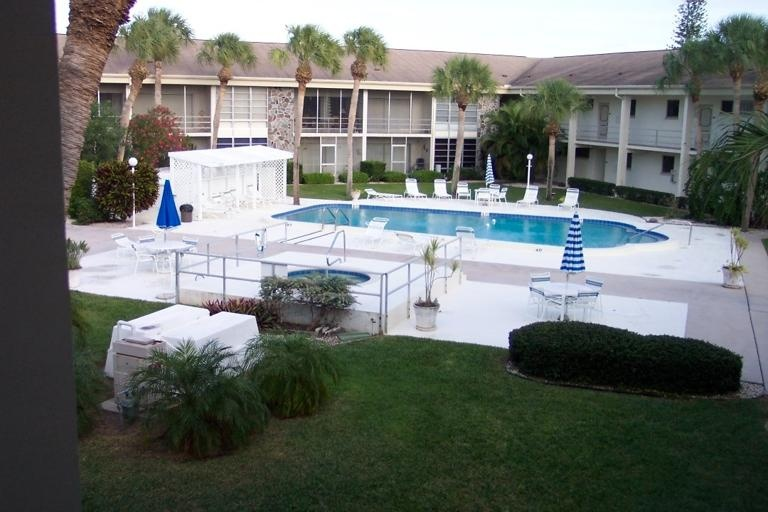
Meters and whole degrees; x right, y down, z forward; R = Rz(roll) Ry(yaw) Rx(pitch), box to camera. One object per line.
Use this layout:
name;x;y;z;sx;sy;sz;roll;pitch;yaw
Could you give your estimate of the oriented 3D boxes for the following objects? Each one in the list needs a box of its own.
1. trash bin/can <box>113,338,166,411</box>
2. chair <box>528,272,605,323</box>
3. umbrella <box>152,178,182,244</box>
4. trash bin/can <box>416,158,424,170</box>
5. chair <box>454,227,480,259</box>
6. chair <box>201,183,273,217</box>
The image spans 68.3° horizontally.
trash bin/can;-3.753;1.874;8.764;0.826;1.040;0.818;3;0;-10
chair;3.985;0.918;12.586;1.188;0.541;1.199;2;8;6
umbrella;-6.087;-1.186;15.818;0.610;1.752;0.604;7;11;16
trash bin/can;2.577;-6.567;40.003;0.586;0.724;0.421;1;14;-2
chair;2.773;-0.432;18.956;0.746;1.312;0.999;-3;39;10
chair;-6.682;-2.591;25.333;1.349;1.099;4.135;4;14;13
